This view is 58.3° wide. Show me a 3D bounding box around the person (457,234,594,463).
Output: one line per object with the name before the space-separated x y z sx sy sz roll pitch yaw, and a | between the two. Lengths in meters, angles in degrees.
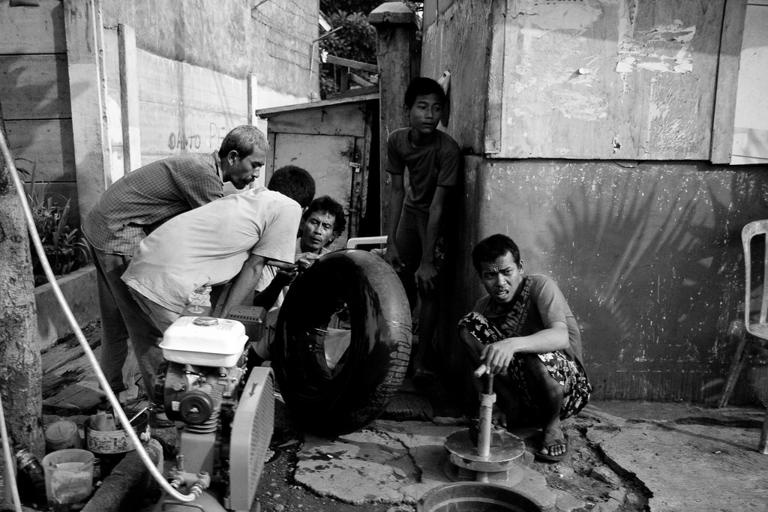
person | 1.003 0.598 4.802 0.921 1.470 0.662 1 9 -13

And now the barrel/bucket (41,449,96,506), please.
barrel/bucket | -1.836 1.280 4.151 0.298 0.306 0.290 2 8 0

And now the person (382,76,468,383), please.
person | 0.285 -0.255 5.835 0.587 2.437 0.787 3 9 -1

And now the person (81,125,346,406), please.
person | -1.474 0.052 4.561 1.190 1.853 0.491 3 9 -2

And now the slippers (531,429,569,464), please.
slippers | 1.140 1.287 4.750 0.272 0.176 0.296 7 9 25
